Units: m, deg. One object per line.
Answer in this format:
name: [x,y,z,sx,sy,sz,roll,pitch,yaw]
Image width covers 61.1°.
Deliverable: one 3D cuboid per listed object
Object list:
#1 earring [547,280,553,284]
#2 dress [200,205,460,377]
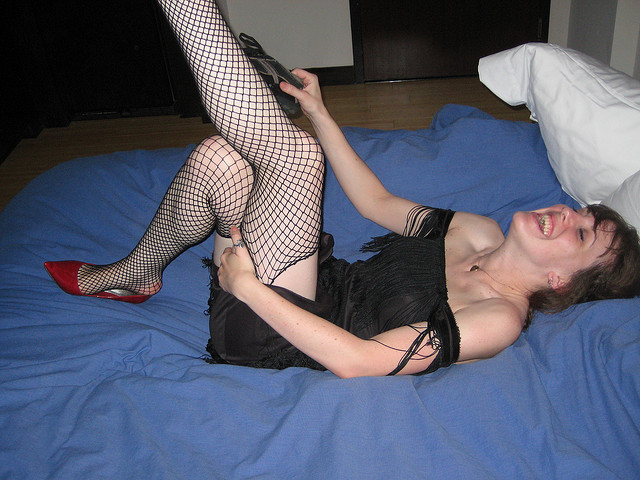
earring: [0.760,0.139,1.784,0.012,0.014,0.005,-3,70,5]
dress: [0.039,0.201,1.866,0.712,0.272,0.629,3,48,4]
